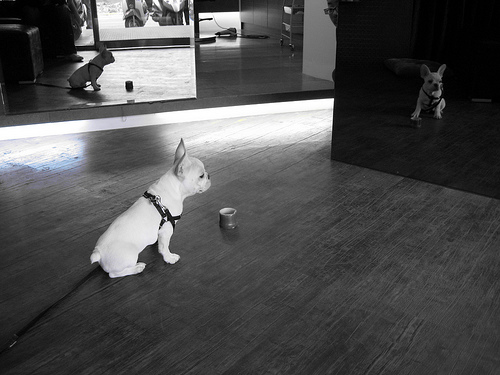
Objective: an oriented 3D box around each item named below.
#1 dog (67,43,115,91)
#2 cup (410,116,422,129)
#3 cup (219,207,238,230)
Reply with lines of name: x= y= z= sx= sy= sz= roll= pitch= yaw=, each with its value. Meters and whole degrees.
dog: x=-2.161 y=-1.624 z=4.443 sx=0.590 sy=0.545 sz=0.291 roll=-8 pitch=24 yaw=-19
cup: x=1.527 y=-0.606 z=2.997 sx=0.089 sy=0.089 sz=0.090 roll=-3 pitch=18 yaw=1
cup: x=-0.156 y=0.224 z=2.408 sx=0.132 sy=0.127 sz=0.137 roll=2 pitch=29 yaw=-1
